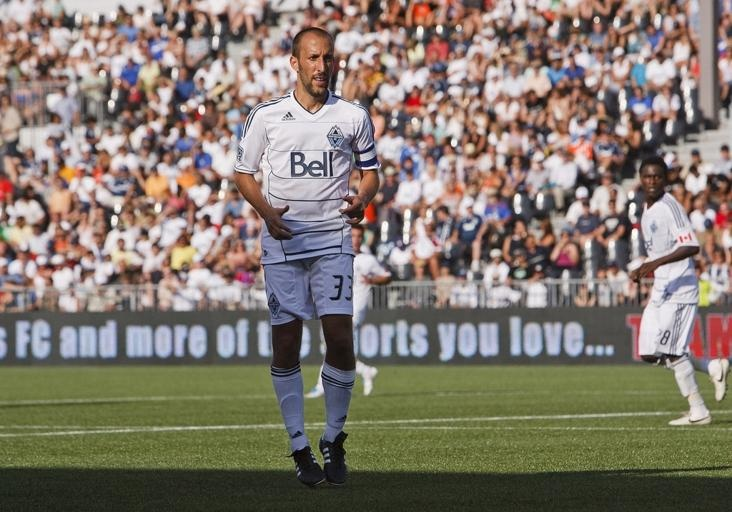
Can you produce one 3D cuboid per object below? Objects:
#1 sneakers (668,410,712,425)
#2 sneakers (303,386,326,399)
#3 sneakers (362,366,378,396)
[{"bbox_3d":[4.730,2.394,25.615,0.618,0.195,0.230,0,-7,6],"label":"sneakers"},{"bbox_3d":[-0.810,2.293,28.949,0.207,0.226,0.524,-2,-8,13],"label":"sneakers"},{"bbox_3d":[0.072,2.059,29.081,0.224,0.535,0.179,6,2,-17],"label":"sneakers"}]
